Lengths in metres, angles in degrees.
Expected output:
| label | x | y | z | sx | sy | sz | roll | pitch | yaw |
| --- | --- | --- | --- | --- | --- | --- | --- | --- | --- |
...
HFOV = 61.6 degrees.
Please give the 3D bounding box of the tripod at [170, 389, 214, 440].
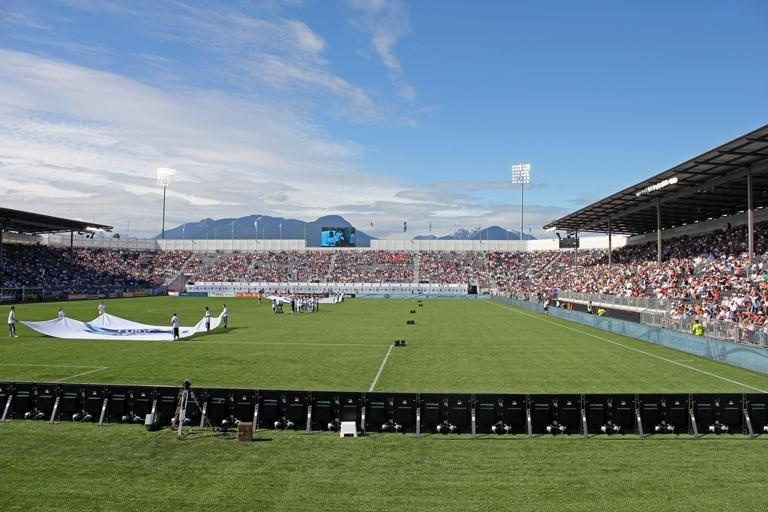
| label | x | y | z | sx | sy | sz | roll | pitch | yaw |
| --- | --- | --- | --- | --- | --- | --- | --- | --- | --- |
| tripod | -7.724 | 6.156 | 25.682 | 1.517 | 1.661 | 1.113 | -4 | 13 | -18 |
